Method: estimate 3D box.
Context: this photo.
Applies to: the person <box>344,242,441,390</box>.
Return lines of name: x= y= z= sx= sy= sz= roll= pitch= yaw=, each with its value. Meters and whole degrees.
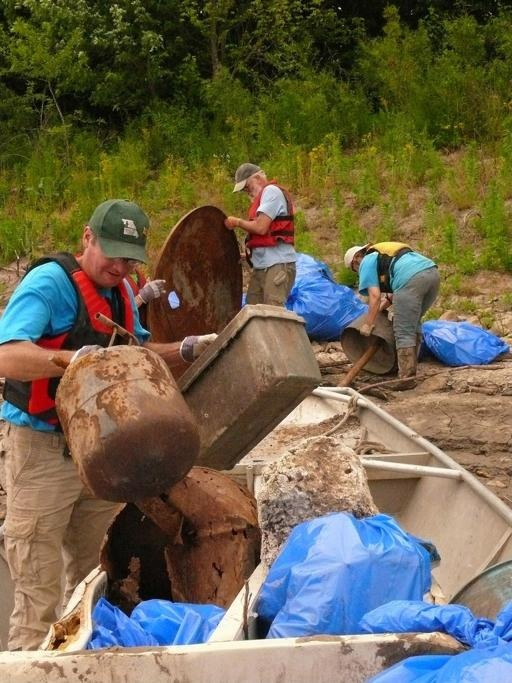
person: x=1.021 y=-0.207 z=7.423 sx=0.601 sy=0.965 sz=0.907 roll=4 pitch=13 yaw=9

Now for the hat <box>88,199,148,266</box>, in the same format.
hat: x=-0.465 y=-0.411 z=3.575 sx=0.226 sy=0.152 sz=0.312 roll=3 pitch=30 yaw=-18

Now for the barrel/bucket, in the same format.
barrel/bucket: x=0.883 y=-0.040 z=7.709 sx=0.387 sy=0.395 sz=0.362 roll=0 pitch=49 yaw=0

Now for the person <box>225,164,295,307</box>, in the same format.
person: x=0.058 y=-0.694 z=6.899 sx=0.442 sy=0.960 sz=1.015 roll=2 pitch=13 yaw=-1
